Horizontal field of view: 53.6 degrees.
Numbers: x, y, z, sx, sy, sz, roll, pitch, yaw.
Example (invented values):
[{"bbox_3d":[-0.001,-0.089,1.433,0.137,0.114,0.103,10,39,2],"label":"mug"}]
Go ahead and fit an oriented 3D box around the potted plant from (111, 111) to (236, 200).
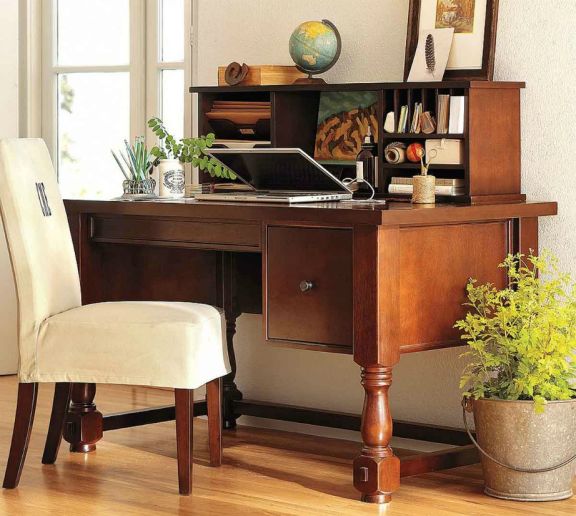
[{"bbox_3d":[-0.446,-0.356,2.164,0.470,0.226,0.412,4,4,18],"label":"potted plant"}]
